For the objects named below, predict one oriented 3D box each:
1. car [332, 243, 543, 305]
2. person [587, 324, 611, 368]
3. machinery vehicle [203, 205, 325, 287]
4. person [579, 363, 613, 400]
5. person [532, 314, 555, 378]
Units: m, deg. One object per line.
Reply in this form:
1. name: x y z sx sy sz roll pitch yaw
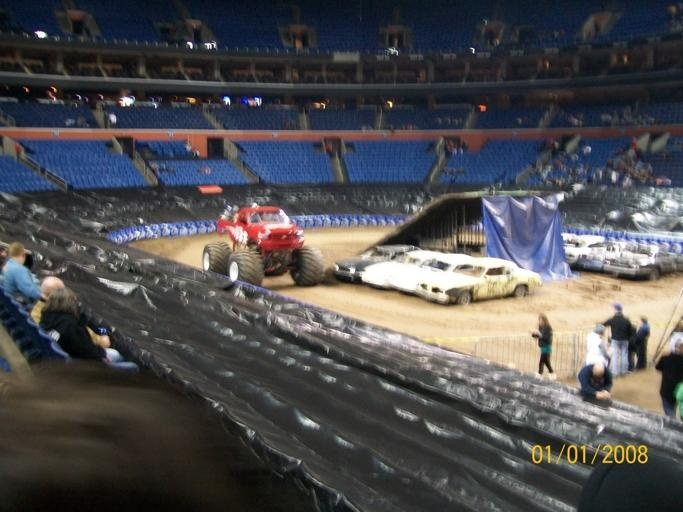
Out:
1. car: 3.452 0.654 15.400 5.567 1.513 2.764 8 6 16
2. person: 4.636 1.581 8.324 0.377 0.686 0.808 9 6 30
3. machinery vehicle: -2.262 0.334 16.718 2.493 2.242 4.427 -4 -12 -11
4. person: 3.541 1.737 6.444 0.356 0.485 0.851 -9 -34 19
5. person: 4.445 1.875 10.057 0.534 1.288 1.227 8 6 26
